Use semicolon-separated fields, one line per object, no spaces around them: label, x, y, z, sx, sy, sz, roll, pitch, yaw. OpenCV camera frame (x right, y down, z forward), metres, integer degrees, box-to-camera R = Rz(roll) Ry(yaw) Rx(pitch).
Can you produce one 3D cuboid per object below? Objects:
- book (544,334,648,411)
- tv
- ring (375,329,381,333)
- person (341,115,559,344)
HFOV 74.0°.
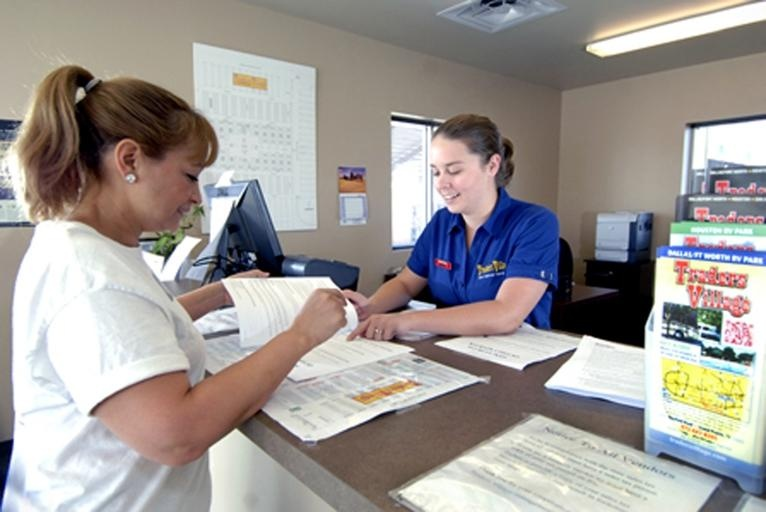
book;0.554;0.291;1.275;0.159;0.026;0.178;7;23;34
tv;-0.650;-0.149;2.284;0.280;0.493;0.494;-1;11;-38
ring;-0.016;0.234;1.584;0.010;0.015;0.005;-1;-6;3
person;0.272;-0.159;2.146;0.911;1.039;0.763;-2;3;-31
